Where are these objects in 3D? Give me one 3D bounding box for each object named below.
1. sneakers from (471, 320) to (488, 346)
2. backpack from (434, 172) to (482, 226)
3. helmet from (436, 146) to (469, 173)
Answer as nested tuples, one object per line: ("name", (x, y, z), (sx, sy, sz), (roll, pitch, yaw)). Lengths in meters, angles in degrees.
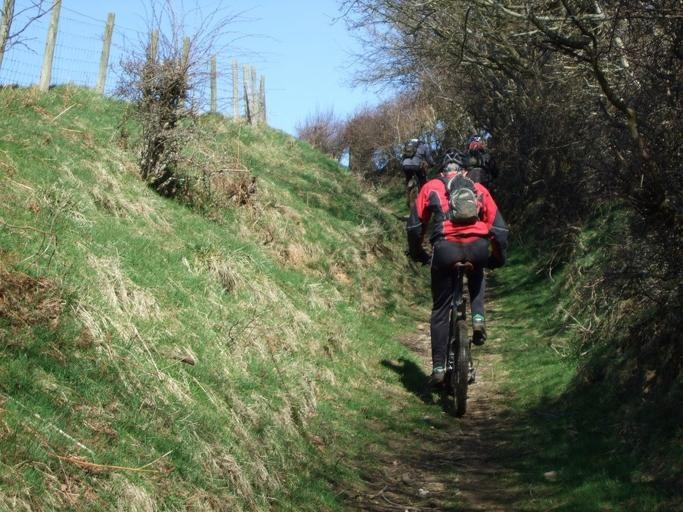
("sneakers", (1.767, 0.991, 10.197), (0.118, 0.197, 0.413), (-2, -24, 14))
("backpack", (1.547, -0.763, 10.333), (0.422, 0.748, 0.633), (1, -3, -22))
("helmet", (1.535, -1.317, 10.782), (0.265, 0.444, 0.374), (2, 3, 7))
